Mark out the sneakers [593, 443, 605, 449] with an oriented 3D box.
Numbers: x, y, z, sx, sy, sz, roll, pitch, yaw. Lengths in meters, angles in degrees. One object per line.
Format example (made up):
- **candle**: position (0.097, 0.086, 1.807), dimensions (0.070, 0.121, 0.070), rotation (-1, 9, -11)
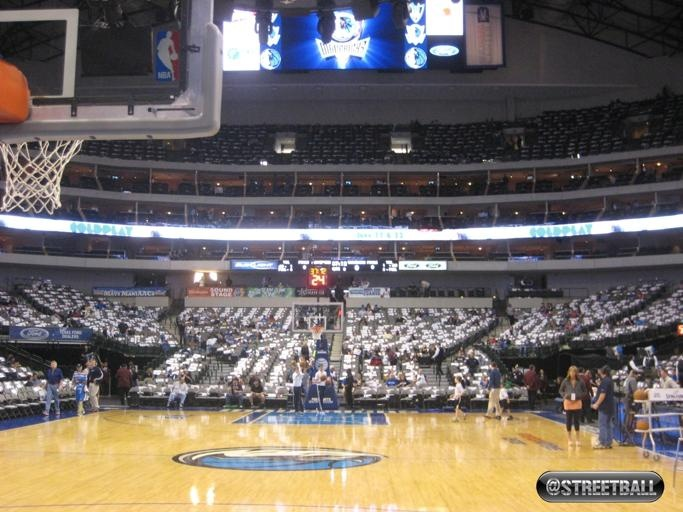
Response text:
- **sneakers**: position (7.646, 5.629, 26.993), dimensions (0.316, 0.141, 0.118), rotation (2, -7, 30)
